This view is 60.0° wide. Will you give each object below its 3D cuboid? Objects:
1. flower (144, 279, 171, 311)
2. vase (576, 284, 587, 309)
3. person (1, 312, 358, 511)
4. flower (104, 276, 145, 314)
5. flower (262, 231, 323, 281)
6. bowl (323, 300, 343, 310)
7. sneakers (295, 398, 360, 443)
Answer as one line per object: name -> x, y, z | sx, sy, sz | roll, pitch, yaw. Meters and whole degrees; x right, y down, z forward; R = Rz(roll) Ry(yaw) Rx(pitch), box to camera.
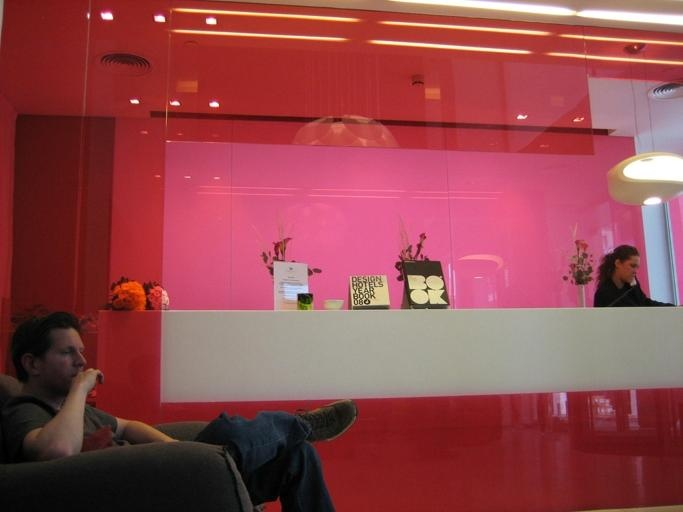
flower -> -1.166, 0.257, 3.731 | 0.168, 0.078, 0.215 | 6, -10, -14
vase -> 1.753, 0.292, 4.299 | 0.064, 0.158, 0.244 | -1, -4, 22
person -> -0.641, 0.714, 2.833 | 1.465, 0.953, 0.743 | 1, -12, -7
flower -> -1.297, 0.237, 3.573 | 0.227, 0.119, 0.194 | -9, 40, -35
flower -> -0.357, 0.008, 4.330 | 0.302, 0.312, 0.303 | -1, -11, -34
bowl -> -0.045, 0.322, 3.814 | 0.083, 0.039, 0.081 | 2, -10, 0
sneakers -> -0.050, 0.756, 2.716 | 0.355, 0.134, 0.144 | -14, -5, -2
